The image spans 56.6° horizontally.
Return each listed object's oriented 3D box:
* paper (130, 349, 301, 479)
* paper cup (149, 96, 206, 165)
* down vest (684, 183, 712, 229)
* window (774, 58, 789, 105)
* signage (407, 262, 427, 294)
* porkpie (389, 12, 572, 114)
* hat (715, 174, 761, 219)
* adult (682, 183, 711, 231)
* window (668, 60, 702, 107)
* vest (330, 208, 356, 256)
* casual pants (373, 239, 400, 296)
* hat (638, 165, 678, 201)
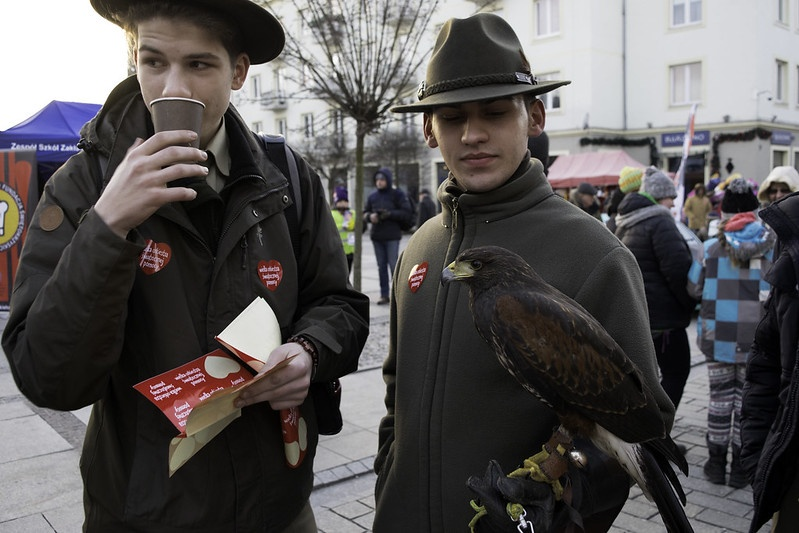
[{"bbox_3d":[-0.895,0.596,3.393,0.687,0.543,0.269,-29,17,-38],"label":"paper"},{"bbox_3d":[-0.979,-0.595,3.266,0.210,0.186,0.225,-1,-10,0],"label":"paper cup"},{"bbox_3d":[6.645,-1.011,16.563,0.561,1.502,0.407,0,2,10],"label":"down vest"},{"bbox_3d":[13.261,-6.498,26.026,0.842,1.604,0.154,-1,0,-35],"label":"window"},{"bbox_3d":[0.087,0.059,3.659,0.017,0.158,0.145,27,-19,-32],"label":"signage"},{"bbox_3d":[0.401,-1.028,3.731,0.978,0.412,1.019,-8,13,-17],"label":"porkpie"},{"bbox_3d":[3.123,-0.639,6.841,0.313,0.378,0.357,-13,3,-8],"label":"hat"},{"bbox_3d":[6.635,-1.022,16.575,0.574,1.587,0.392,-1,5,10],"label":"adult"},{"bbox_3d":[10.162,-6.507,26.540,0.352,1.445,1.343,-7,10,-25],"label":"window"},{"bbox_3d":[-1.025,-0.612,13.200,0.476,0.740,0.412,-5,13,-25],"label":"vest"},{"bbox_3d":[-0.246,0.007,12.984,0.393,1.146,0.297,-6,20,-18],"label":"casual pants"},{"bbox_3d":[2.582,-0.886,7.492,0.273,0.306,0.329,-11,36,-10],"label":"hat"}]
